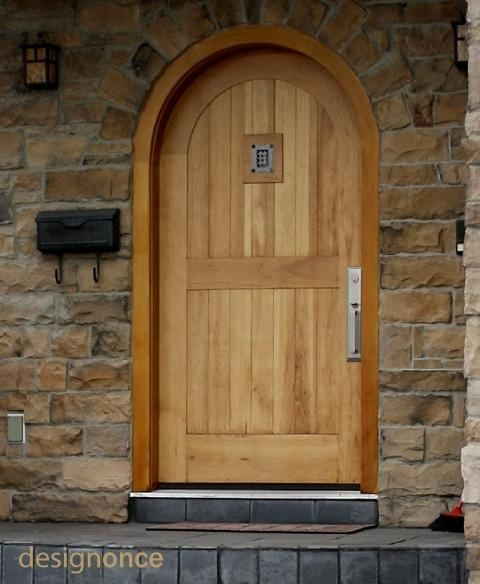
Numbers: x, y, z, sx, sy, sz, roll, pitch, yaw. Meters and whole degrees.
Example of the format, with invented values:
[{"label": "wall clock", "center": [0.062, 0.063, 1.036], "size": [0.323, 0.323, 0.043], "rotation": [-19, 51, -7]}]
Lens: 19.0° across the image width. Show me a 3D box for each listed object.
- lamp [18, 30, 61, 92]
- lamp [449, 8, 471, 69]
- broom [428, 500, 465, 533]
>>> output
[{"label": "lamp", "center": [-0.919, -1.094, 6.742], "size": [0.199, 0.352, 0.218], "rotation": [0, 5, 2]}, {"label": "lamp", "center": [0.988, -1.132, 6.447], "size": [0.064, 0.270, 0.123], "rotation": [-4, -8, 9]}, {"label": "broom", "center": [0.895, 0.990, 6.236], "size": [0.162, 0.129, 0.109], "rotation": [-6, -9, 15]}]
